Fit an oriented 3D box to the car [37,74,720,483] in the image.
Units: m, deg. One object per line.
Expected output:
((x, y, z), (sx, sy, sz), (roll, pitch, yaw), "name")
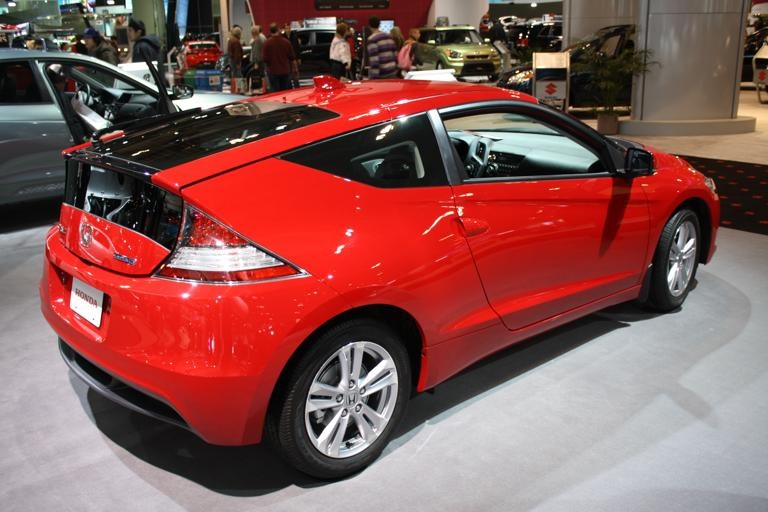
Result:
((0.440, -0.226, 3.427), (4.584, 1.654, 2.211), (-18, 28, -33), "car")

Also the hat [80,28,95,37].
((-7.190, -5.501, 11.254), (0.201, 0.159, 0.315), (23, 34, 18), "hat")
